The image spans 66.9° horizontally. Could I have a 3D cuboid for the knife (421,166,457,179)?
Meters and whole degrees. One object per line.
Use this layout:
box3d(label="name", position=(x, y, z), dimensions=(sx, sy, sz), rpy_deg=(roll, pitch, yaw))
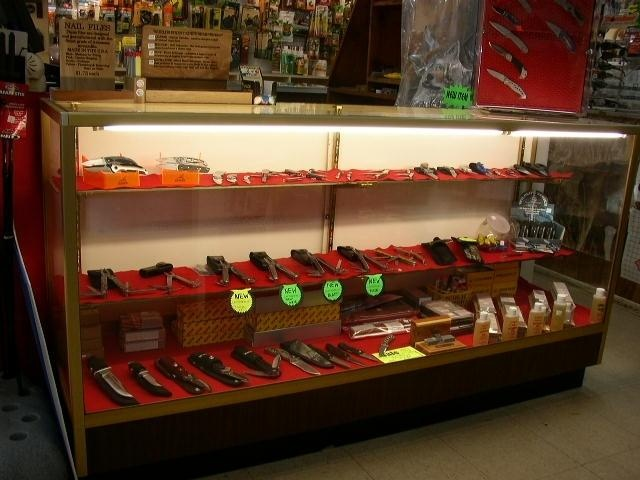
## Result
box3d(label="knife", position=(0.762, -0.434, 3.134), dimensions=(0.131, 0.052, 0.045), rpy_deg=(21, 0, -8))

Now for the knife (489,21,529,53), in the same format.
box3d(label="knife", position=(1.165, -1.252, 2.965), dimensions=(0.272, 0.045, 0.020), rpy_deg=(39, 8, 0))

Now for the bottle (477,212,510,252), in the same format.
box3d(label="bottle", position=(1.221, -0.058, 3.430), dimensions=(0.232, 0.244, 0.245), rpy_deg=(14, 4, 20))

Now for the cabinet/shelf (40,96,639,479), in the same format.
box3d(label="cabinet/shelf", position=(0.180, 0.156, 2.833), dimensions=(3.158, 1.885, 1.150), rpy_deg=(-11, 22, -28))

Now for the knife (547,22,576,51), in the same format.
box3d(label="knife", position=(1.474, -1.238, 2.952), dimensions=(0.193, 0.172, 0.024), rpy_deg=(0, 18, 0))

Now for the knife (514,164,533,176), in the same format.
box3d(label="knife", position=(1.415, -0.484, 3.362), dimensions=(0.053, 0.028, 0.115), rpy_deg=(-24, 57, -39))
